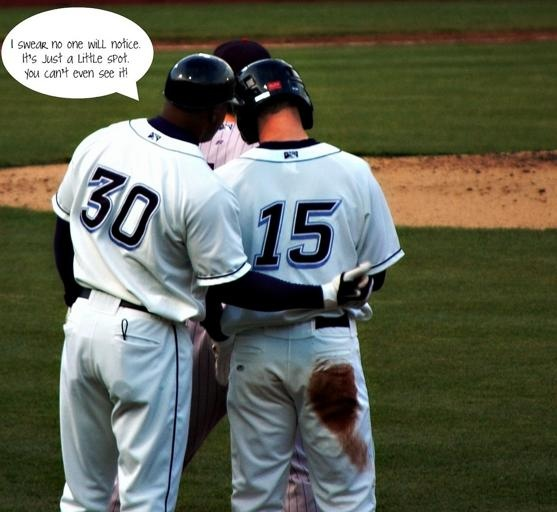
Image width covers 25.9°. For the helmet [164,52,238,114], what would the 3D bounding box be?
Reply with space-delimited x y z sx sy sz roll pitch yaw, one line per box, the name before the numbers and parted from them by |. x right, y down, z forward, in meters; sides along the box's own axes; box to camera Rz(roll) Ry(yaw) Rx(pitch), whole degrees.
helmet | -0.534 -1.233 8.303 0.513 0.297 0.467 15 31 11
